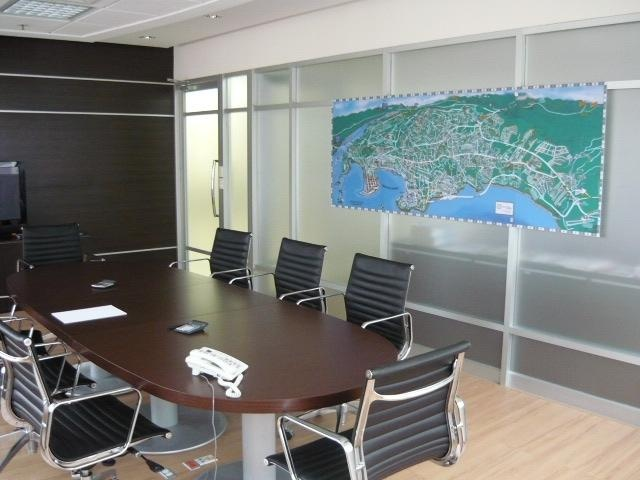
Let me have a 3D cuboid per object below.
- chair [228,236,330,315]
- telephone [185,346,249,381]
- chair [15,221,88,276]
[{"bbox_3d":[-0.297,0.303,4.176,0.636,0.932,0.678,7,8,40],"label":"chair"},{"bbox_3d":[-0.519,0.620,2.293,0.216,0.069,0.153,20,20,26],"label":"telephone"},{"bbox_3d":[-2.990,0.078,5.085,0.622,0.727,0.589,-7,14,-34],"label":"chair"}]
